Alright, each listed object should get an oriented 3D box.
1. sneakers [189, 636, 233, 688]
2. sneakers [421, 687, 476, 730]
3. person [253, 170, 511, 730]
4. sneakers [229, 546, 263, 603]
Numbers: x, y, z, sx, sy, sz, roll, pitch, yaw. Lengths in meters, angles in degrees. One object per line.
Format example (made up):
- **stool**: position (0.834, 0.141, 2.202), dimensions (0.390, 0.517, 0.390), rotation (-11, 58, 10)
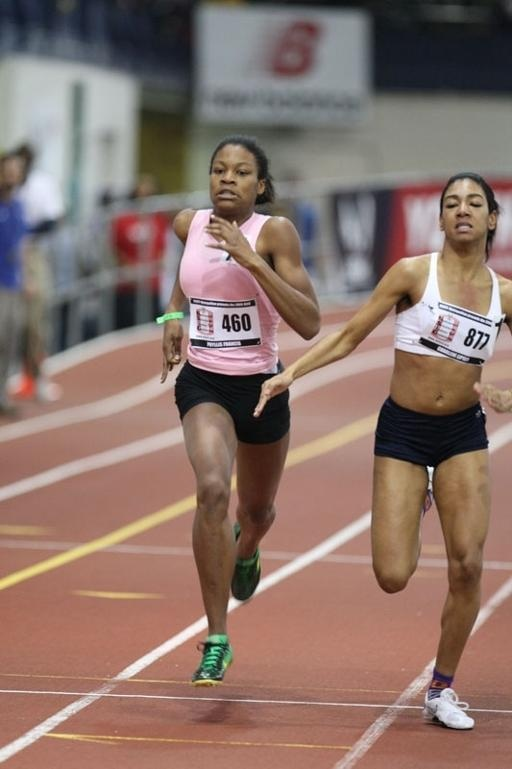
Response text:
- **sneakers**: position (-0.132, 0.799, 2.444), dimensions (0.071, 0.076, 0.195), rotation (1, 4, 9)
- **sneakers**: position (0.564, 0.942, 2.457), dimensions (0.135, 0.085, 0.208), rotation (4, 9, 4)
- **person**: position (0.569, 0.160, 2.643), dimensions (0.692, 1.634, 0.610), rotation (13, 13, 41)
- **sneakers**: position (-0.031, 0.809, 3.592), dimensions (0.111, 0.118, 0.296), rotation (-1, 21, 7)
